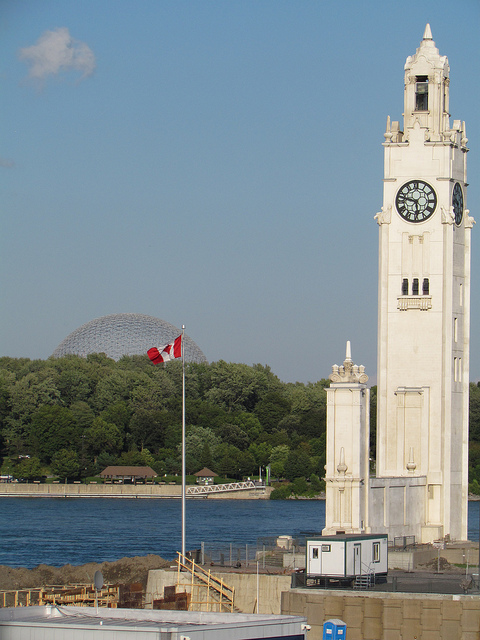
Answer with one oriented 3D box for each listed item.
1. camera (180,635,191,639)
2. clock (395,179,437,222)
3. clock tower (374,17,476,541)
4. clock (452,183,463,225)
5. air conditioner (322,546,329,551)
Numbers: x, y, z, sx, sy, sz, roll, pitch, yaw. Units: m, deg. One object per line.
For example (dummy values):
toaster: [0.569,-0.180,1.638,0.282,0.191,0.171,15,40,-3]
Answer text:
camera: [-1.598,9.221,55.929,0.242,0.107,0.276,-2,-9,12]
clock: [9.169,-5.856,96.998,1.688,1.980,0.102,-12,-8,14]
clock tower: [9.438,-2.069,97.133,4.814,26.214,3.189,1,-8,-4]
clock: [11.336,-5.731,98.027,0.083,2.144,2.007,-2,-9,20]
air conditioner: [3.433,8.924,74.956,0.269,0.192,0.065,-3,0,5]
